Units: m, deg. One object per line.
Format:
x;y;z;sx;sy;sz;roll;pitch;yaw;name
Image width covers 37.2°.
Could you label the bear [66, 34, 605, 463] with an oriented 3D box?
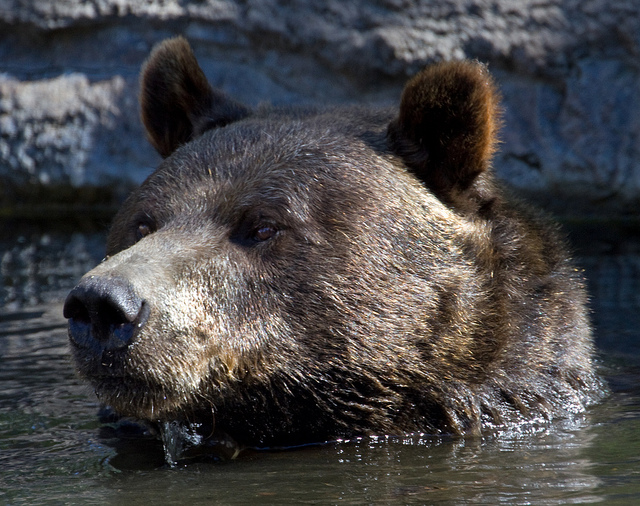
0.037;0.025;5.069;2.726;2.032;0.777;-5;11;-16;bear
